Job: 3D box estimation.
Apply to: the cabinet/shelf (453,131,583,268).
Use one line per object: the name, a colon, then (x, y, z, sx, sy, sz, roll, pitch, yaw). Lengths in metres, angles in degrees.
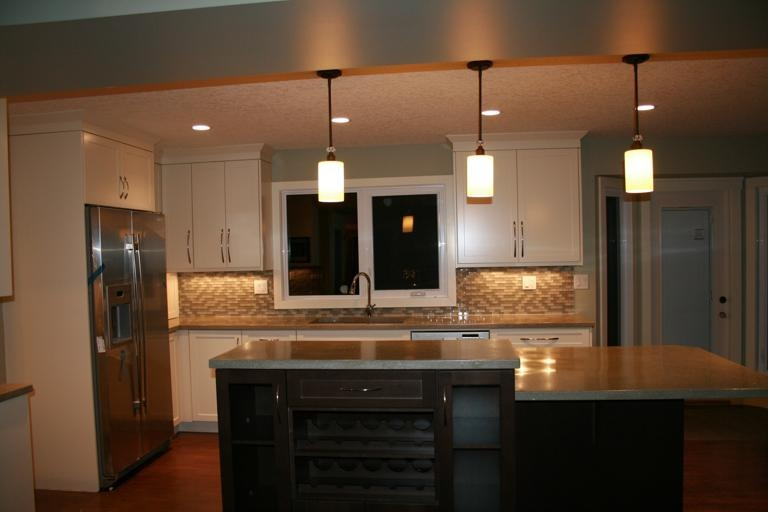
cabinet/shelf: (1.289, -0.555, 6.344, 1.448, 1.261, 0.527, 0, -1, 4)

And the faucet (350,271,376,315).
faucet: (-0.223, 0.389, 6.841, 0.246, 0.436, 0.211, -1, 0, -1)

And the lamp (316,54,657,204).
lamp: (0.639, -0.854, 4.828, 2.335, 0.912, 2.055, -1, 0, 12)
